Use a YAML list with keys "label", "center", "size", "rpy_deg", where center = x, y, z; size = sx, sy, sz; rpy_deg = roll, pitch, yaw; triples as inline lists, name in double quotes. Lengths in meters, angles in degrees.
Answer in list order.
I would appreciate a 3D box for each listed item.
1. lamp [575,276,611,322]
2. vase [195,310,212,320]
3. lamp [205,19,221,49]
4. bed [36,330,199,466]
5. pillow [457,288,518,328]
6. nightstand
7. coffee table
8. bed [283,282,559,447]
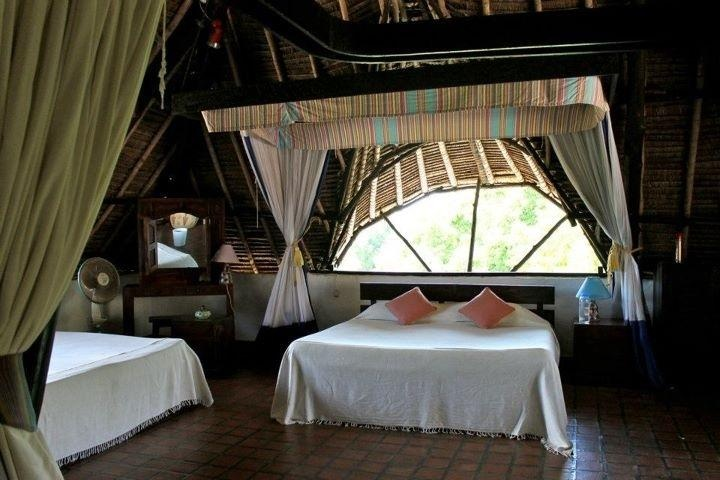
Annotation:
- label: "lamp"
  center: [2.535, 0.637, 6.189]
  size: [0.321, 0.499, 0.318]
  rpy_deg: [2, 4, 29]
- label: "vase"
  center: [-1.842, 0.879, 6.712]
  size: [0.124, 0.069, 0.128]
  rpy_deg: [3, 3, 38]
- label: "lamp"
  center: [-1.565, -2.240, 6.105]
  size: [0.150, 0.295, 0.131]
  rpy_deg: [-3, 7, -18]
- label: "bed"
  center: [-2.355, 1.337, 5.182]
  size: [1.069, 0.730, 1.677]
  rpy_deg: [3, 8, 32]
- label: "pillow"
  center: [1.359, 0.767, 6.092]
  size: [0.610, 0.161, 0.639]
  rpy_deg: [-19, 31, 8]
- label: "nightstand"
  center: [2.566, 1.191, 6.262]
  size: [0.565, 0.597, 0.603]
  rpy_deg: [-1, 1, 6]
- label: "coffee table"
  center: [-1.970, 1.287, 6.731]
  size: [0.730, 0.402, 0.726]
  rpy_deg: [-26, -2, 17]
- label: "bed"
  center: [0.658, 1.105, 5.684]
  size: [2.642, 0.959, 1.922]
  rpy_deg: [1, 7, 16]
